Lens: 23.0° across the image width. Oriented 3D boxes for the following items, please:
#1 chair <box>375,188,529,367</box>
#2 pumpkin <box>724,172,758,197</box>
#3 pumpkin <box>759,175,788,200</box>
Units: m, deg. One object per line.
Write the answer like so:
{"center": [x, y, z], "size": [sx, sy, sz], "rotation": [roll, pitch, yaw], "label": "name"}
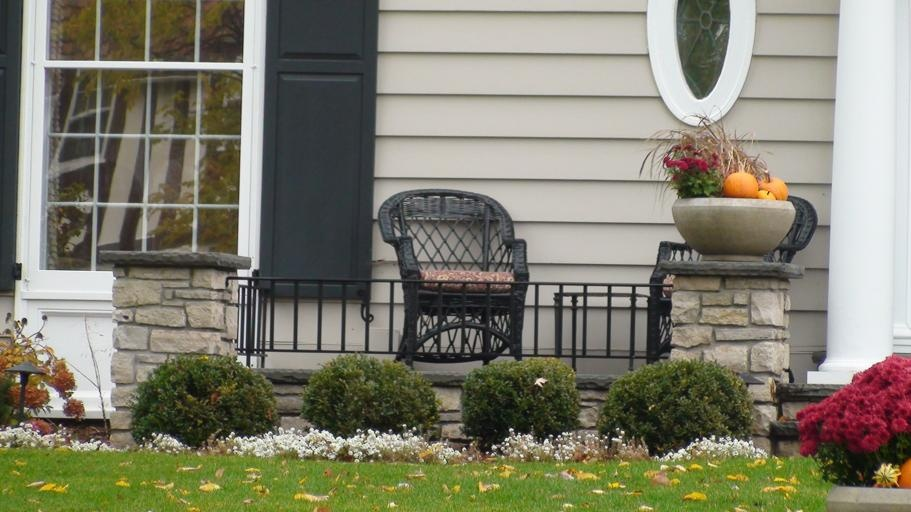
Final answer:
{"center": [0.122, 0.209, 20.940], "size": [1.521, 2.010, 1.502], "rotation": [1, -6, -11], "label": "chair"}
{"center": [2.506, -0.667, 19.813], "size": [0.226, 0.234, 0.233], "rotation": [2, 4, 43], "label": "pumpkin"}
{"center": [2.818, -0.631, 19.943], "size": [0.214, 0.225, 0.221], "rotation": [-2, 4, 2], "label": "pumpkin"}
